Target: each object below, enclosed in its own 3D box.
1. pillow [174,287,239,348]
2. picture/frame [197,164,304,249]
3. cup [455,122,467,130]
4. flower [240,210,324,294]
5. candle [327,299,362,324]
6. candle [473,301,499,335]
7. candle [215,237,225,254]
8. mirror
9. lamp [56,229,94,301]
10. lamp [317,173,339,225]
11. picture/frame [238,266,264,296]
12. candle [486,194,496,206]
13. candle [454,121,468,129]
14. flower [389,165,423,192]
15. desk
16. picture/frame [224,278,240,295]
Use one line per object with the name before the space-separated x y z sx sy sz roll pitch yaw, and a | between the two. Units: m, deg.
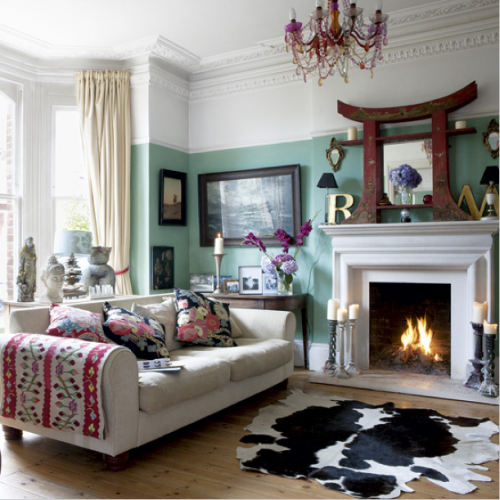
pillow | -0.331 0.505 3.586 0.484 0.471 0.139 0 18 13
picture/frame | 0.046 -0.477 5.009 1.027 0.667 0.043 0 3 30
cup | 1.814 -1.061 3.912 0.092 0.061 0.089 0 1 0
flower | 0.364 0.034 4.773 0.903 0.845 0.369 -3 -4 4
candle | 0.872 0.577 4.220 0.313 0.217 0.173 0 1 2
candle | 1.825 0.543 3.623 0.192 0.252 0.258 1 -6 -4
candle | -0.324 -0.035 4.917 0.077 0.182 0.250 0 -2 -2
mirror | 1.468 -0.883 4.102 1.420 1.216 0.208 -2 -4 33
lamp | -1.438 0.088 3.716 0.263 0.475 0.248 2 5 -1
lamp | 0.767 -0.506 4.451 0.201 0.480 0.236 -1 -2 9
picture/frame | 0.015 0.341 4.922 0.313 0.313 0.024 -3 -6 29
candle | 2.002 -0.414 3.788 0.068 0.101 0.107 -1 -2 26
candle | 1.821 -1.053 3.938 0.086 0.057 0.083 0 1 -9
flower | 1.410 -0.638 4.053 0.233 0.110 0.237 -6 40 -2
desk | 0.114 0.776 4.619 0.815 0.634 0.505 -3 -3 28
picture/frame | -0.197 0.411 4.996 0.138 0.095 0.138 0 0 -38
